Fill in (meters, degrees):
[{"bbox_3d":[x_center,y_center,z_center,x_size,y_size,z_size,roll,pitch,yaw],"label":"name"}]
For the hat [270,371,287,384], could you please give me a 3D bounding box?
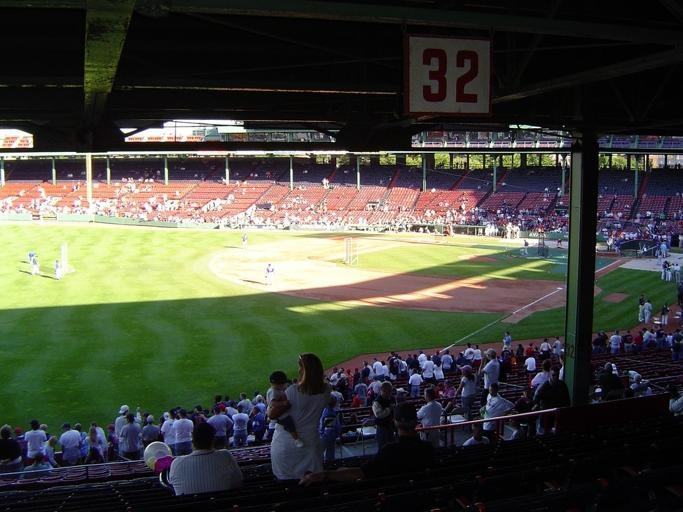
[{"bbox_3d":[-0.871,1.639,9.466,0.227,0.231,0.252,2,21,-8],"label":"hat"}]
